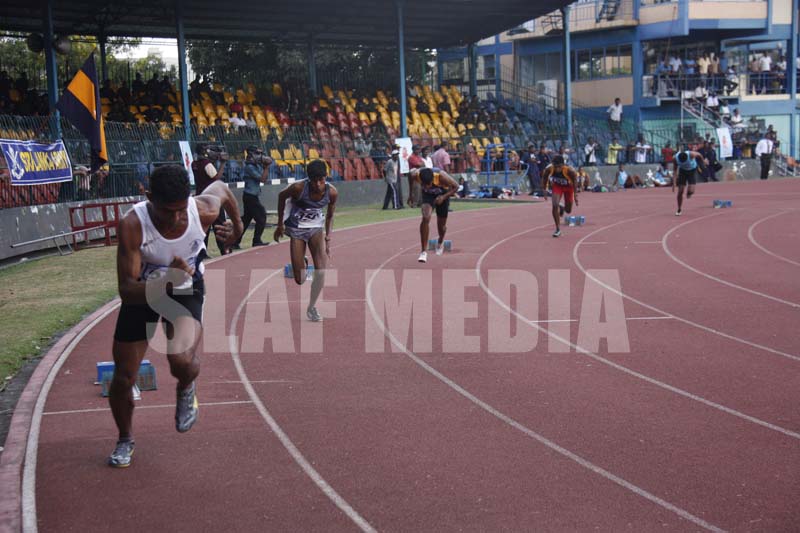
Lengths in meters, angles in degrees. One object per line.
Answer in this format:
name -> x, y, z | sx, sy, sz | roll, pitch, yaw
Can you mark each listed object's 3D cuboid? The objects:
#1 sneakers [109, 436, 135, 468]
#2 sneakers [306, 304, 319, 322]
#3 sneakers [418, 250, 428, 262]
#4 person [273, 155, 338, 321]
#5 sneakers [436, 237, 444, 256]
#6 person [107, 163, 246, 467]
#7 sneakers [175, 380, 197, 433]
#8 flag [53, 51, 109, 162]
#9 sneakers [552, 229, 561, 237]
sneakers -> -2.715, 1.808, 7.440 | 0.124, 0.177, 0.347 | 1, 0, -5
sneakers -> -1.305, 0.688, 11.468 | 0.188, 0.231, 0.236 | -3, 14, -9
sneakers -> 0.444, -0.204, 15.802 | 0.215, 0.244, 0.697 | 0, 15, 1
person -> -1.398, -0.415, 11.464 | 0.860, 2.371, 0.713 | 2, 12, 12
sneakers -> 0.856, -0.434, 16.744 | 0.115, 0.424, 0.160 | 3, -20, 3
person -> -2.211, 0.455, 7.311 | 1.313, 2.877, 0.610 | -7, 13, -28
sneakers -> -2.076, 1.379, 7.454 | 0.164, 0.584, 0.221 | -2, 0, 11
flag -> -6.725, -3.275, 16.256 | 0.895, 2.613, 0.258 | -4, 37, -29
sneakers -> 3.881, -0.807, 19.026 | 0.111, 0.160, 0.332 | -2, 0, 23
